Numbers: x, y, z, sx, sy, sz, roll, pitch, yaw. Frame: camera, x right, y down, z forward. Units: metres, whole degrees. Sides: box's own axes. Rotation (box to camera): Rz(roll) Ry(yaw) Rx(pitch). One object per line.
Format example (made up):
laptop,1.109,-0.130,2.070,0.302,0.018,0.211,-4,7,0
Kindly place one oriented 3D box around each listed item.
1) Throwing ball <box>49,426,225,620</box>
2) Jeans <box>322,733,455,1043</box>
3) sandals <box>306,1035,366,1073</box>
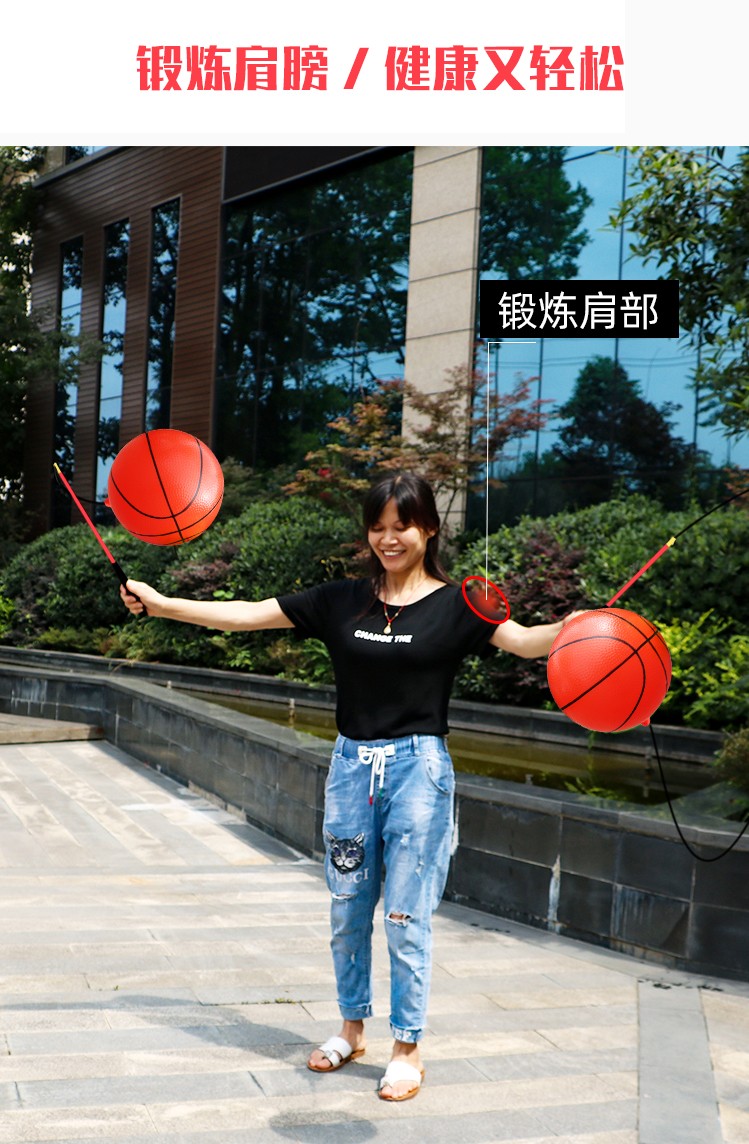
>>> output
Throwing ball,-0.668,-0.127,2.960,0.375,0.592,0.327,1,6,-19
Jeans,0.022,0.764,2.373,0.308,0.749,0.208,3,-3,14
sandals,-0.097,1.213,2.461,0.057,0.048,0.146,6,-1,43
